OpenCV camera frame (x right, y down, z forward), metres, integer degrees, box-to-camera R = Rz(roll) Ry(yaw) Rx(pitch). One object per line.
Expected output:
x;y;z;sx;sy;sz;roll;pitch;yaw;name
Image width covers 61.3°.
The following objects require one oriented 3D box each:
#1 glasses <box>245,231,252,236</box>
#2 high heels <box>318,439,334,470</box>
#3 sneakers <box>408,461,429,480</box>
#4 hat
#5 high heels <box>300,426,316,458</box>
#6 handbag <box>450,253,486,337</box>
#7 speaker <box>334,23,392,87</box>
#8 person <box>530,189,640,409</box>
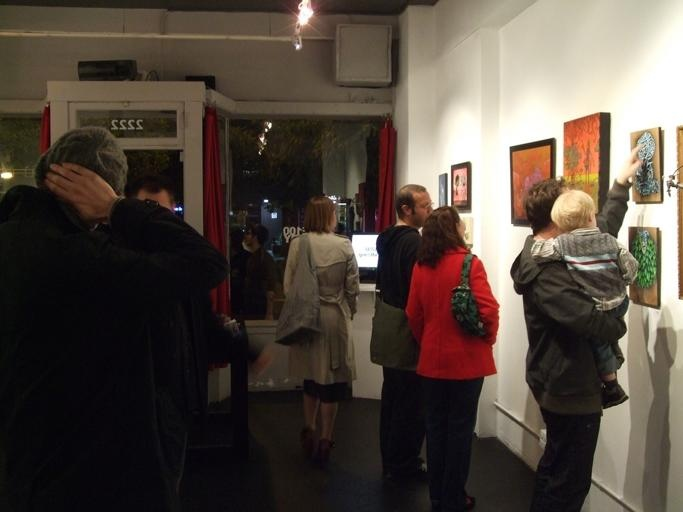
-0.882;-0.213;5.500;0.035;0.042;0.069;-3;1;-8;glasses
-0.110;1.421;4.115;0.066;0.219;0.077;1;8;-2;high heels
0.510;1.422;3.892;0.134;0.155;0.147;1;-13;-1;sneakers
-0.862;-0.314;1.978;0.240;0.269;0.206;-14;13;-12;hat
-0.244;1.347;4.190;0.073;0.235;0.097;1;30;5;high heels
0.676;0.215;3.130;0.169;0.431;0.119;-5;7;-30;handbag
0.193;-1.834;5.237;0.463;0.546;0.488;0;-10;-2;speaker
1.235;0.207;2.909;0.475;1.173;0.334;3;25;41;person
